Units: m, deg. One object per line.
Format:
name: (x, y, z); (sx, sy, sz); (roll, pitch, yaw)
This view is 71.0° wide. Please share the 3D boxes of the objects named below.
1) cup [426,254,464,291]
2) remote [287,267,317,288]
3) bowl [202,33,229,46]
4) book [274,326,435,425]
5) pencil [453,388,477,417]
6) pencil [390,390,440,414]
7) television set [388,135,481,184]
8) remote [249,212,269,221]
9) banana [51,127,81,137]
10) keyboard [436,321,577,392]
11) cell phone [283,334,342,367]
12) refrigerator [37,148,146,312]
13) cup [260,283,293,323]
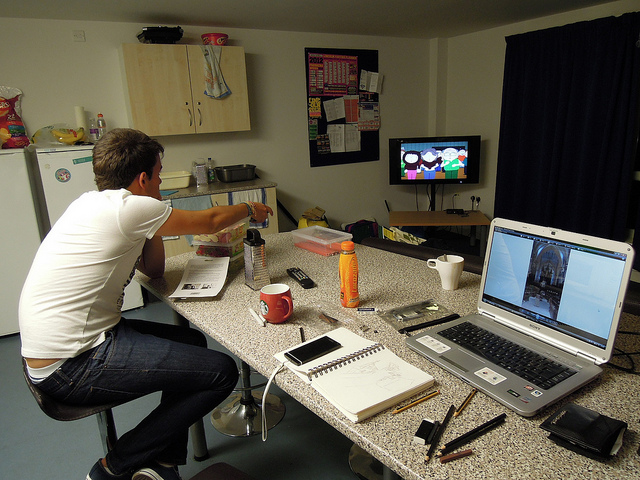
cup: (0.580, 0.160, 2.035); (0.129, 0.101, 0.100); (-5, 4, 1)
remote: (-0.090, 0.173, 2.176); (0.060, 0.032, 0.182); (-15, 32, -24)
bowl: (-0.978, -1.852, 4.184); (0.224, 0.117, 0.113); (-9, 18, -12)
book: (0.105, 0.432, 1.551); (0.386, 0.077, 0.488); (-7, 15, -30)
pencil: (0.441, 0.497, 1.366); (0.104, 0.009, 0.011); (-35, 9, -39)
pencil: (0.287, 0.497, 1.373); (0.126, 0.013, 0.012); (-23, 34, -25)
television set: (1.341, -0.912, 5.259); (1.036, 0.553, 0.113); (0, 0, 6)
remote: (-0.324, -0.122, 2.343); (0.068, 0.065, 0.066); (-1, 6, 1)
banana: (-2.127, -0.890, 3.771); (0.216, 0.071, 0.110); (-11, 18, -18)
keyboard: (0.616, 0.380, 1.517); (0.161, 0.056, 0.410); (-17, 20, -35)
cell phone: (-0.021, 0.385, 1.581); (0.155, 0.016, 0.084); (-16, 24, -34)
refrigerator: (-2.025, -0.438, 4.091); (0.608, 1.193, 0.655); (-12, 44, -22)
cup: (-0.159, 0.270, 1.792); (0.114, 0.129, 0.177); (-7, 10, -31)
